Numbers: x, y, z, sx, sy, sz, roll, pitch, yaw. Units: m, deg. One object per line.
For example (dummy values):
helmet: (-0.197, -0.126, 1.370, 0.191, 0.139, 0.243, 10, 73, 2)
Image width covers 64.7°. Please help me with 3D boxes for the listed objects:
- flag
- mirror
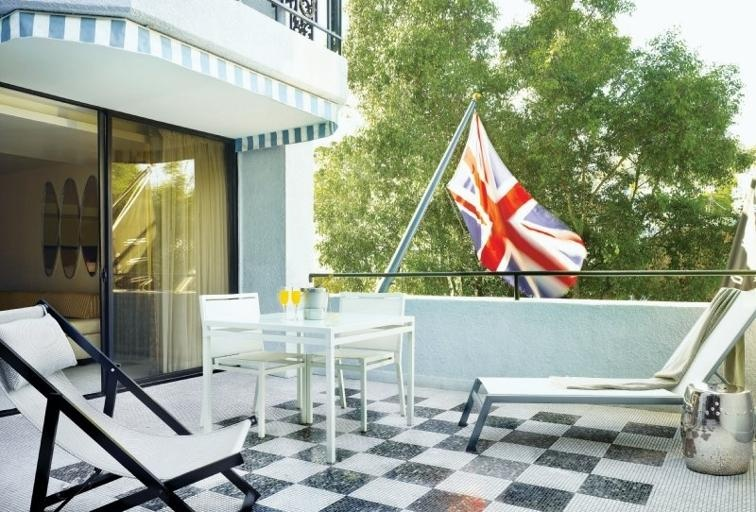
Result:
flag: (1.711, -0.789, 7.730, 1.899, 1.987, 0.580, -1, 5, -20)
mirror: (-3.600, -0.398, 7.014, 1.099, 1.380, 0.057, 1, 2, 36)
